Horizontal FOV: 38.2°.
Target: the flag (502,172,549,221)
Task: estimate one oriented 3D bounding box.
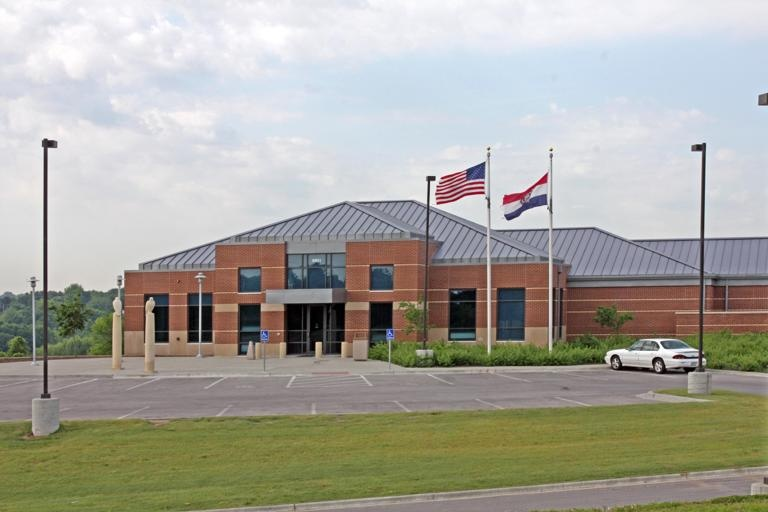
[{"bbox_3d":[7.673,-3.238,60.047,2.266,2.465,1.033,0,5,13],"label":"flag"}]

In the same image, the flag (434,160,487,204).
[{"bbox_3d":[4.122,-3.945,60.608,2.961,1.944,0.289,-6,-16,31],"label":"flag"}]

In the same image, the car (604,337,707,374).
[{"bbox_3d":[13.530,4.965,55.873,2.391,1.466,5.230,-2,-1,-29],"label":"car"}]
